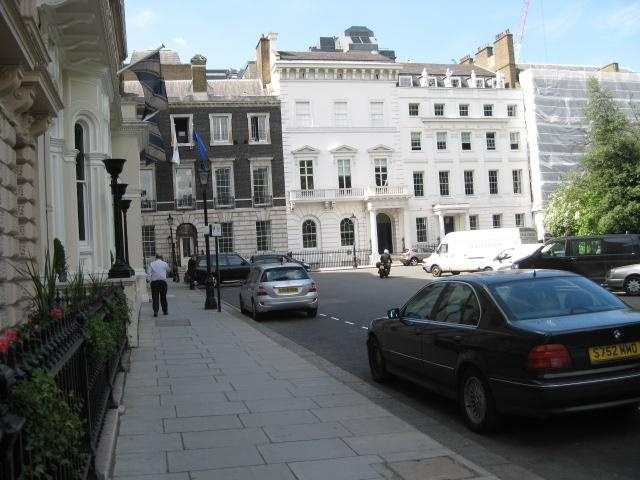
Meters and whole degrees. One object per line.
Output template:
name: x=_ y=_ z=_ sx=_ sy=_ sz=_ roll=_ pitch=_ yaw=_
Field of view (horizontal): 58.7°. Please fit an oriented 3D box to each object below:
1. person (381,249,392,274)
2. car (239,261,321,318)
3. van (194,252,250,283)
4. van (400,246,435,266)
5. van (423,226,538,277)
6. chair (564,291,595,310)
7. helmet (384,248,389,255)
person: x=3.928 y=1.181 z=34.010 sx=0.909 sy=1.019 sz=1.578 roll=1 pitch=14 yaw=11
car: x=-1.518 y=1.606 z=18.948 sx=1.434 sy=1.171 sz=2.611 roll=-1 pitch=3 yaw=-12
van: x=-5.808 y=1.760 z=33.959 sx=3.203 sy=1.486 sz=1.820 roll=-3 pitch=2 yaw=-8
van: x=8.226 y=1.331 z=47.046 sx=2.713 sy=1.129 sz=1.319 roll=-6 pitch=3 yaw=-15
van: x=9.167 y=0.774 z=33.658 sx=2.959 sy=2.582 sz=6.338 roll=1 pitch=-2 yaw=-43
chair: x=3.125 y=0.723 z=6.903 sx=0.341 sy=0.183 sz=0.301 roll=-3 pitch=4 yaw=-9
helmet: x=4.670 y=0.836 z=40.070 sx=0.377 sy=0.387 sz=0.684 roll=-4 pitch=-1 yaw=4
